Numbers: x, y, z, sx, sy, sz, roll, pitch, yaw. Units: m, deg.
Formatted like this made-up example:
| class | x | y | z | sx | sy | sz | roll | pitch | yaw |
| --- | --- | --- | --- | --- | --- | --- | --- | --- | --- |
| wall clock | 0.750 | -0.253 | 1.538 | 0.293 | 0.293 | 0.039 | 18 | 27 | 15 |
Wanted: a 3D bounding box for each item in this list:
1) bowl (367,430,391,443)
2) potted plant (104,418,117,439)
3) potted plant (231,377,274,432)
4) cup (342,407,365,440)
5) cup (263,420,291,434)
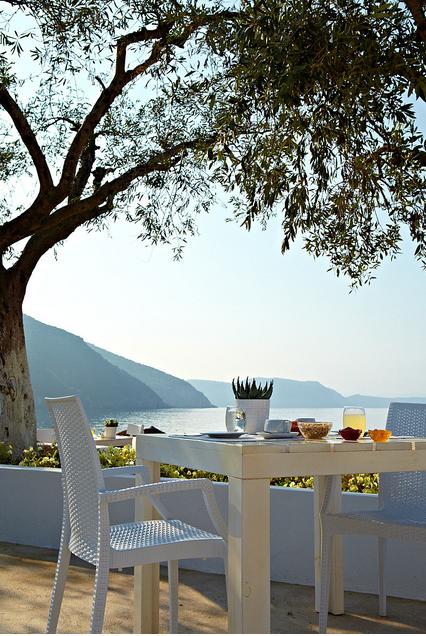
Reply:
| class | x | y | z | sx | sy | sz | roll | pitch | yaw |
| --- | --- | --- | --- | --- | --- | --- | --- | --- | --- |
| bowl | 0.594 | 0.432 | 2.049 | 0.055 | 0.036 | 0.060 | 1 | -12 | 0 |
| potted plant | -1.998 | 2.213 | 11.286 | 0.290 | 0.374 | 0.311 | -1 | -5 | -1 |
| potted plant | 0.156 | 0.371 | 2.336 | 0.144 | 0.206 | 0.135 | 0 | -3 | 4 |
| cup | 0.538 | 0.408 | 2.228 | 0.097 | 0.111 | 0.105 | 1 | -9 | 0 |
| cup | 0.234 | 0.402 | 2.086 | 0.074 | 0.033 | 0.051 | -4 | -9 | 30 |
